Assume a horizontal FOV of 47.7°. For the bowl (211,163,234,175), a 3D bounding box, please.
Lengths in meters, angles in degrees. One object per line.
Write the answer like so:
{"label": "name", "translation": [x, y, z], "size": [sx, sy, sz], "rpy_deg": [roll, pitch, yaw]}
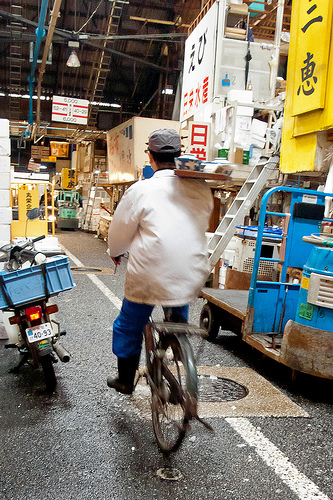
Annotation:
{"label": "bowl", "translation": [0.318, -0.438, 2.036], "size": [0.112, 0.054, 0.113], "rpy_deg": [3, -1, 0]}

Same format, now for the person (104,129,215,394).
{"label": "person", "translation": [-0.089, 0.067, 2.296], "size": [0.504, 1.505, 0.673], "rpy_deg": [3, -1, -42]}

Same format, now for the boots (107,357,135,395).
{"label": "boots", "translation": [-0.317, 0.863, 2.677], "size": [0.220, 0.256, 0.131], "rpy_deg": [11, 4, 26]}

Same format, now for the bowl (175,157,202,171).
{"label": "bowl", "translation": [0.119, -0.440, 2.021], "size": [0.088, 0.056, 0.090], "rpy_deg": [5, 5, 0]}

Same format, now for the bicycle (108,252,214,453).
{"label": "bicycle", "translation": [-0.156, 0.696, 2.195], "size": [0.415, 0.551, 0.894], "rpy_deg": [1, 12, -14]}

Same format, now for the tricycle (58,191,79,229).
{"label": "tricycle", "translation": [-5.694, -2.351, 22.044], "size": [1.166, 2.315, 0.593], "rpy_deg": [3, -1, -27]}
